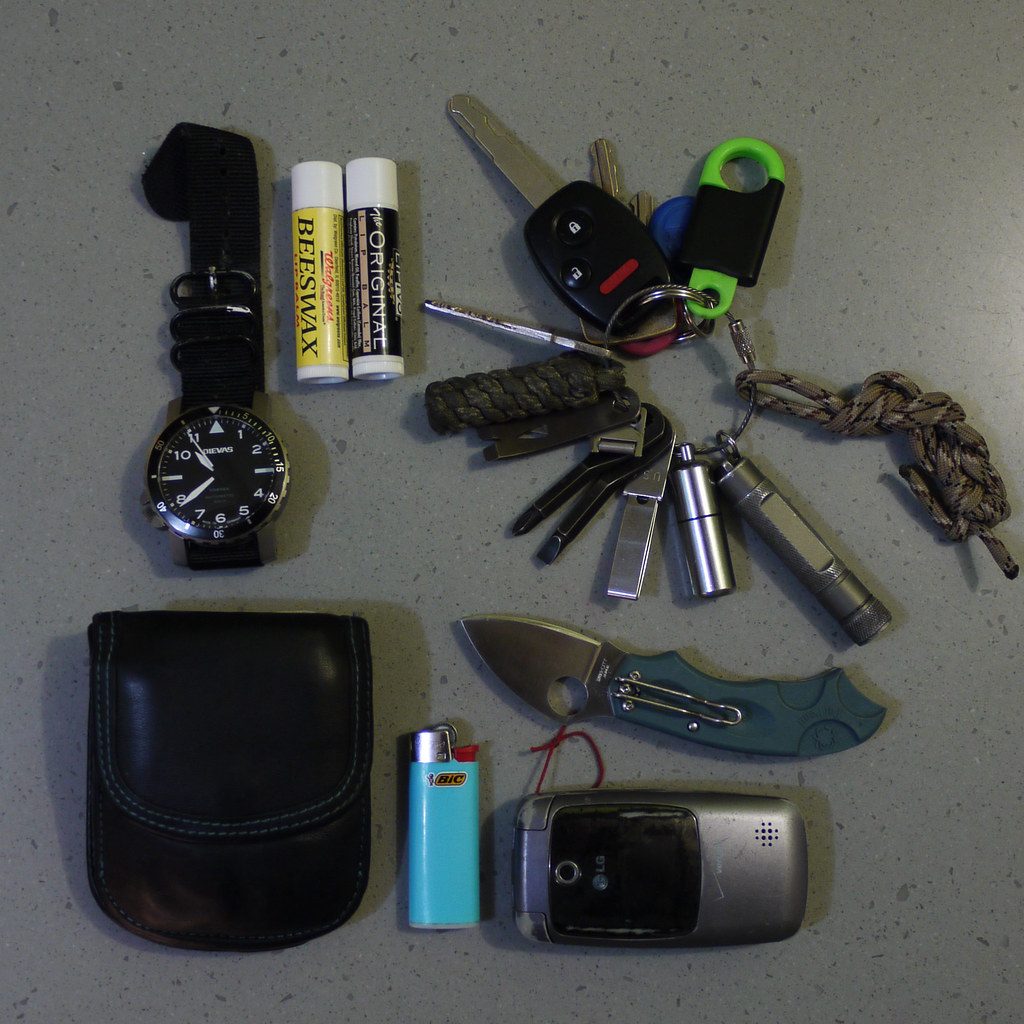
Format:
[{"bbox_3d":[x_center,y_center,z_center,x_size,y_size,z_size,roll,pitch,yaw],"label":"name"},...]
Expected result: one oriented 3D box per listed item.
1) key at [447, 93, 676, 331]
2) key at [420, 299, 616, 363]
[{"bbox_3d":[0.038,-0.350,1.544,0.094,0.094,0.353,-35,73,-34],"label":"key"},{"bbox_3d":[0.008,-0.208,1.539,0.180,0.017,0.031,18,74,10],"label":"key"}]
